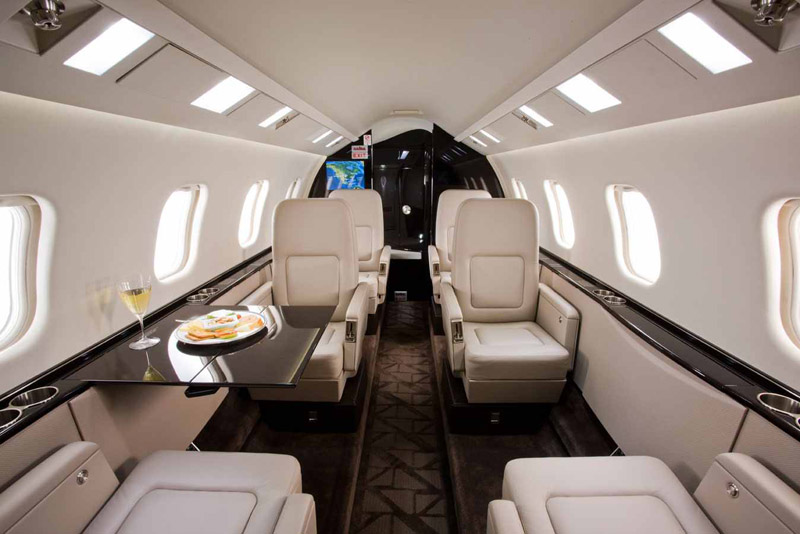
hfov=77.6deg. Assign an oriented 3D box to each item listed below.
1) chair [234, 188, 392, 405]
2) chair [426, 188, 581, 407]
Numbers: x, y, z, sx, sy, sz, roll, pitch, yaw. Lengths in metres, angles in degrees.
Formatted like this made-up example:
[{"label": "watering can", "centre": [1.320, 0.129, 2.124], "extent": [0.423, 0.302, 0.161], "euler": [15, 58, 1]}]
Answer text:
[{"label": "chair", "centre": [-0.658, 0.156, 4.216], "extent": [0.806, 1.454, 1.966], "euler": [-1, 7, 1]}, {"label": "chair", "centre": [0.828, 0.218, 3.761], "extent": [0.998, 1.457, 0.857], "euler": [0, 7, 3]}]
